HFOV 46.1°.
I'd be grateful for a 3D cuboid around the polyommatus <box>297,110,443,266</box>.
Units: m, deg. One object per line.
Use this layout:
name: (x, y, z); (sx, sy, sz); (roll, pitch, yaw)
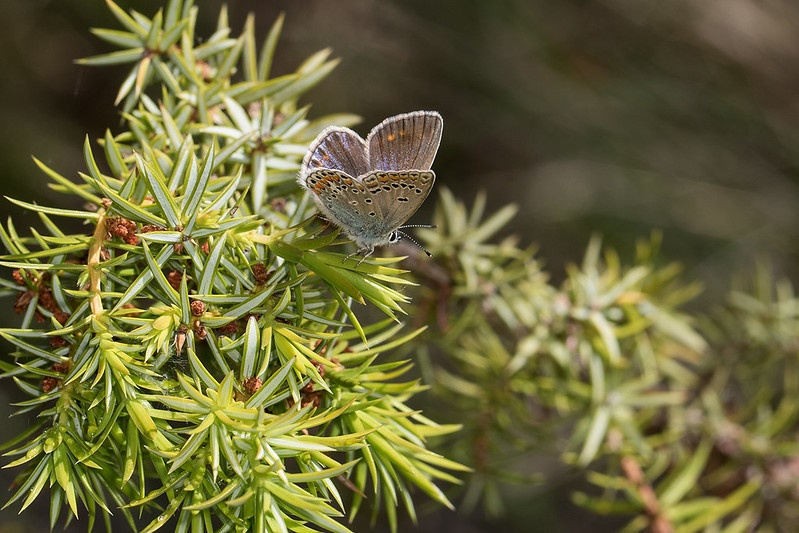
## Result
polyommatus: (-0.065, -0.136, 1.816); (0.273, 0.302, 0.244); (8, 99, 3)
